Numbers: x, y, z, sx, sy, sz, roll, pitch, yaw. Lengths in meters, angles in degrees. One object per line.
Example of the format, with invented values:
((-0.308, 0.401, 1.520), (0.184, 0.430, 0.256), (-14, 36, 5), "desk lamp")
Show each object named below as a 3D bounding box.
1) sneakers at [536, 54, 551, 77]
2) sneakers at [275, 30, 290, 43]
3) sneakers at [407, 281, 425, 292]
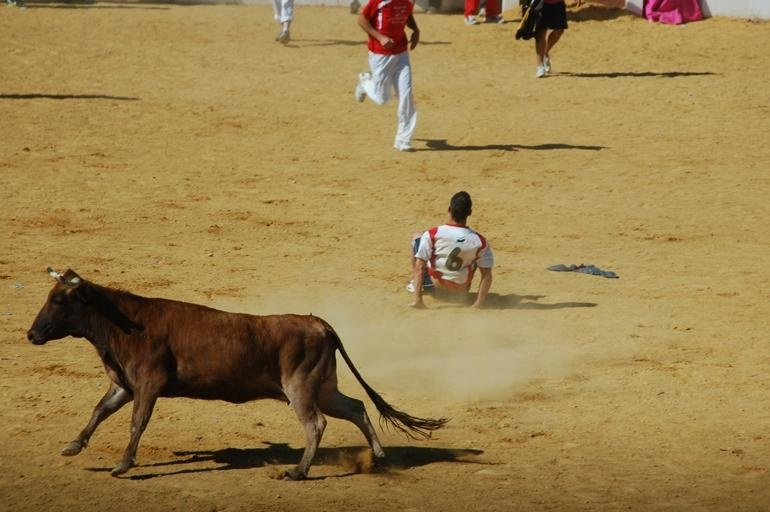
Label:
((3.224, -3.827, 30.642), (0.224, 0.219, 0.542), (3, 37, 6), "sneakers")
((-2.302, -4.806, 33.344), (0.189, 0.169, 0.496), (9, 3, -14), "sneakers")
((0.447, 0.472, 22.471), (0.219, 0.118, 0.340), (0, -4, 8), "sneakers")
